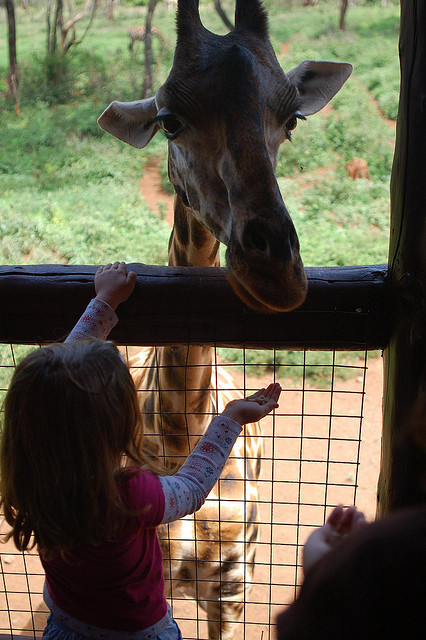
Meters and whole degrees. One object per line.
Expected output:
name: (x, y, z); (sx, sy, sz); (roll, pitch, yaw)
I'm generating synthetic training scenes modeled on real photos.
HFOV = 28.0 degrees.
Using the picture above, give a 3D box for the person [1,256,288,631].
person: (-0.109, 0.321, 2.345); (0.540, 0.955, 0.877); (4, -30, 0)
